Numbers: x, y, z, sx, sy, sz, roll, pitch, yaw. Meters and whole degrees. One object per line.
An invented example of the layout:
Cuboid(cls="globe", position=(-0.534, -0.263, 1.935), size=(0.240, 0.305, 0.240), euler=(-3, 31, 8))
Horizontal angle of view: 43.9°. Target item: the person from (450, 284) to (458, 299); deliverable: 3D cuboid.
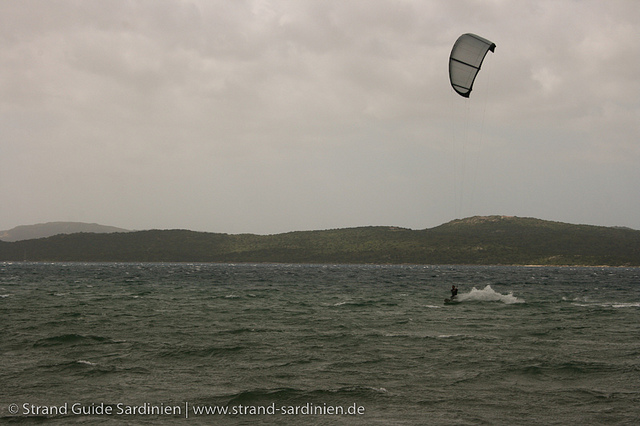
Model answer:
Cuboid(cls="person", position=(13.136, 7.607, 77.620), size=(0.662, 1.248, 1.233), euler=(1, 0, 9))

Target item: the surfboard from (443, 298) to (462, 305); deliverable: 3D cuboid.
Cuboid(cls="surfboard", position=(12.684, 8.276, 75.808), size=(1.470, 0.520, 2.553), euler=(1, 1, 7))

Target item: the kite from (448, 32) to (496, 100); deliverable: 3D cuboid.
Cuboid(cls="kite", position=(12.494, -12.632, 68.139), size=(1.990, 5.436, 3.257), euler=(1, 0, -18))
